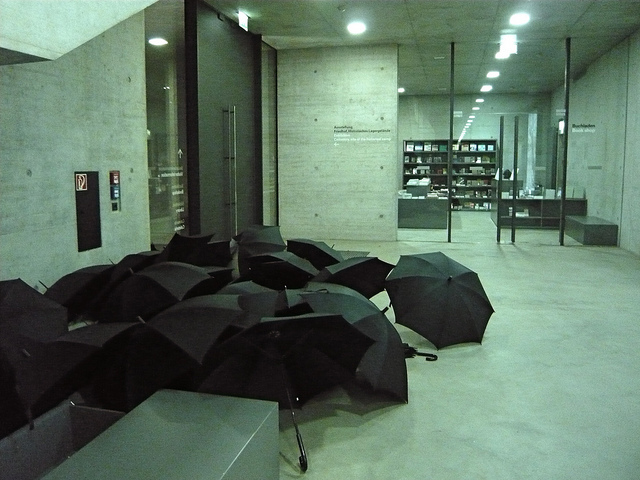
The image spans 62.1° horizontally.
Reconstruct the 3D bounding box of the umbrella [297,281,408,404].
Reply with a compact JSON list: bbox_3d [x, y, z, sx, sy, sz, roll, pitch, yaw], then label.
[{"bbox_3d":[0.067,0.771,3.732,0.804,0.363,0.774,37,16,-35],"label":"umbrella"}]

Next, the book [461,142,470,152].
[{"bbox_3d":[2.926,-1.863,10.681,0.201,0.169,0.095,8,16,31],"label":"book"}]

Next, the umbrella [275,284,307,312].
[{"bbox_3d":[-0.206,0.390,3.510,0.133,0.055,0.162,-9,18,2],"label":"umbrella"}]

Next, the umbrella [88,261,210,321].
[{"bbox_3d":[-1.158,0.325,3.502,0.506,0.197,0.492,-33,23,-23],"label":"umbrella"}]

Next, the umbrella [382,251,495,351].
[{"bbox_3d":[1.103,0.511,4.881,1.125,0.450,1.083,16,49,-3],"label":"umbrella"}]

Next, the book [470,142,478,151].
[{"bbox_3d":[3.068,-1.853,10.597,0.141,0.158,0.148,2,14,9],"label":"book"}]

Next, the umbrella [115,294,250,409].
[{"bbox_3d":[-0.751,0.627,2.947,0.464,0.454,0.576,6,14,21],"label":"umbrella"}]

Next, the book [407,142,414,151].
[{"bbox_3d":[1.922,-1.977,11.309,0.222,0.264,0.028,3,-11,3],"label":"book"}]
